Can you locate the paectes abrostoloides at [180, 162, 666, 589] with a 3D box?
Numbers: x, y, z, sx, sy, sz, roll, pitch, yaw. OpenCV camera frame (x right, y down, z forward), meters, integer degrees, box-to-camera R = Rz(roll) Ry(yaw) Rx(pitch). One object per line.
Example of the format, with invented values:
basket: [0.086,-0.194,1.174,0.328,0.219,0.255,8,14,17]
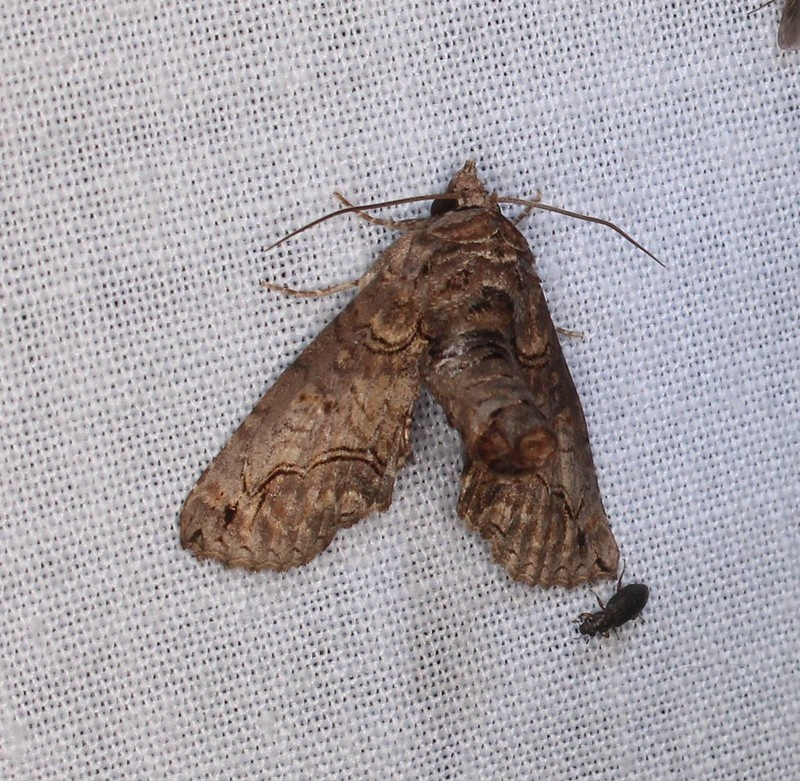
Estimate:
paectes abrostoloides: [0.002,0.011,2.182,0.598,0.255,0.763,3,87,-9]
